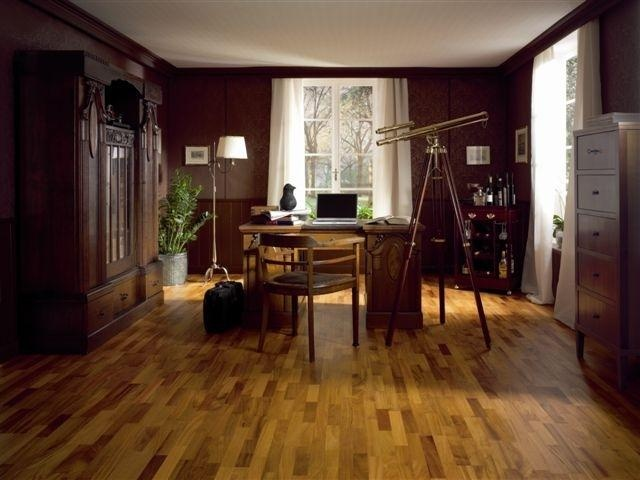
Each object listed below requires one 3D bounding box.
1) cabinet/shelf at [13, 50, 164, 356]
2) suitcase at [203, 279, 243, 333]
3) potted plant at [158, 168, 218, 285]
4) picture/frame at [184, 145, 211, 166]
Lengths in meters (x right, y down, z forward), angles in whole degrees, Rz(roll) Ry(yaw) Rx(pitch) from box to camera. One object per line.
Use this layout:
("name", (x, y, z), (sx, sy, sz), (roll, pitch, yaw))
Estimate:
("cabinet/shelf", (-2.152, -0.412, 4.336), (0.628, 2.504, 1.393), (1, 9, 7))
("suitcase", (-0.877, 0.588, 4.560), (0.323, 0.586, 0.618), (0, 2, 12))
("potted plant", (-1.852, -0.167, 6.384), (0.682, 1.509, 1.046), (-3, 9, -15))
("picture/frame", (-1.794, -1.262, 6.853), (0.258, 0.260, 0.029), (0, 3, -3))
